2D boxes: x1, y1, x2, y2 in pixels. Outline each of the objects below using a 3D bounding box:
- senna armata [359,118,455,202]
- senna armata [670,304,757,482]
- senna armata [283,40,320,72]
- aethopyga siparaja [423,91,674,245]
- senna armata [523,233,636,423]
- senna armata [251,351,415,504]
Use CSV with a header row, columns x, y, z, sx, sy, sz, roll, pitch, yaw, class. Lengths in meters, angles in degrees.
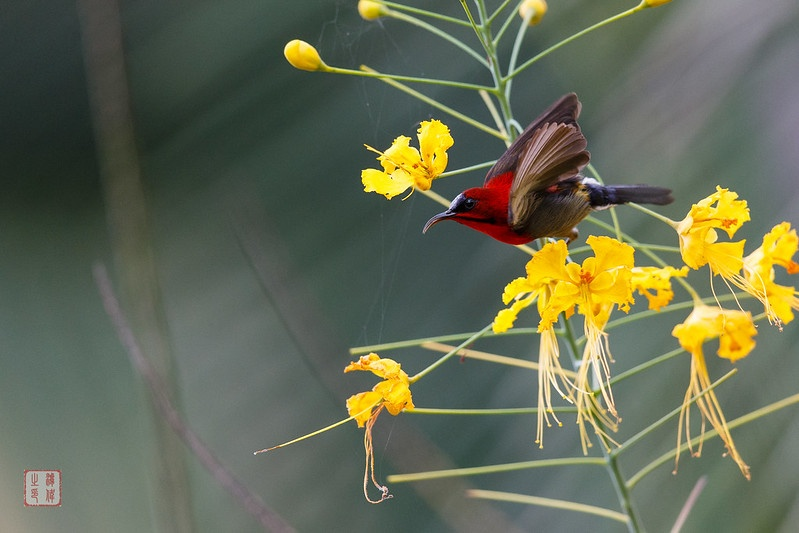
x,y,z,sx,sy,sz,roll,pitch,yaw,class
0.023,-0.278,2.377,0.237,0.207,0.112,-57,-37,-13,senna armata
0.844,0.353,2.351,0.215,0.501,0.232,-3,-1,-33,senna armata
-0.270,-0.587,2.444,0.110,0.060,0.064,24,-55,-24,senna armata
0.406,-0.211,2.299,0.559,0.560,0.371,-22,-79,-4,aethopyga siparaja
0.496,0.198,2.280,0.270,0.508,0.282,-11,-10,36,senna armata
-0.124,0.434,2.382,0.294,0.424,0.411,4,-21,-15,senna armata
